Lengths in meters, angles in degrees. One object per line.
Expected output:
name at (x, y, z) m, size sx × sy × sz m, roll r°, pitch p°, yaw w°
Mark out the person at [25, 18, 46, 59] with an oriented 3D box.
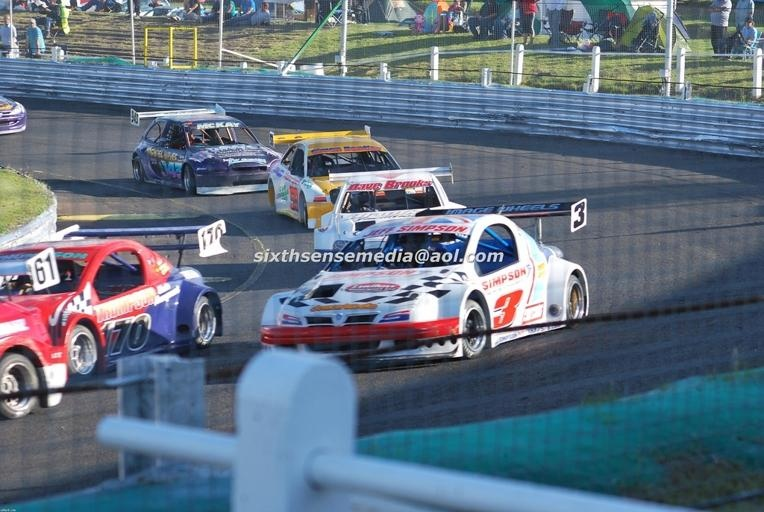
person at (-9.543, -6.020, 31.629) m, size 0.483 × 0.995 × 1.635 m, roll -4°, pitch 10°, yaw -16°
